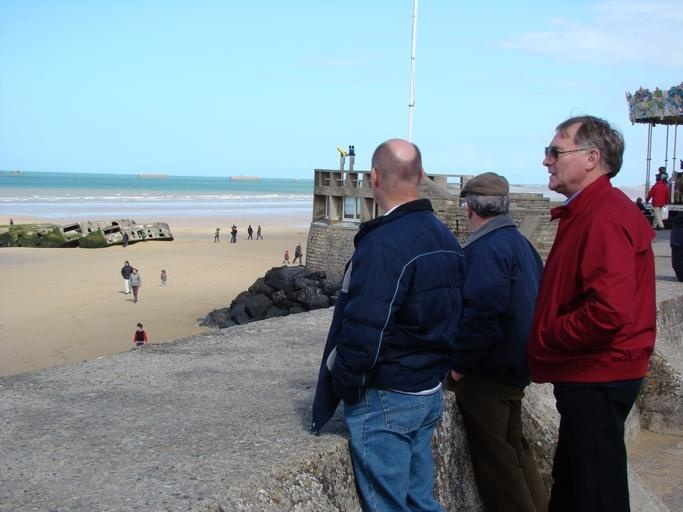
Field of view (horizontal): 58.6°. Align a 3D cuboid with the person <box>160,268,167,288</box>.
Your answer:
[{"bbox_3d":[-7.589,0.896,25.742,0.280,0.704,1.382,1,10,-17],"label":"person"}]

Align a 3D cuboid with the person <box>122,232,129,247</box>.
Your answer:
[{"bbox_3d":[-13.155,-0.957,36.810,0.199,0.755,0.419,2,-8,-31],"label":"person"}]

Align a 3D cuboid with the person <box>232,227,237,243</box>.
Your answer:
[{"bbox_3d":[-7.402,-1.437,41.464,0.263,1.139,1.734,1,10,-11],"label":"person"}]
